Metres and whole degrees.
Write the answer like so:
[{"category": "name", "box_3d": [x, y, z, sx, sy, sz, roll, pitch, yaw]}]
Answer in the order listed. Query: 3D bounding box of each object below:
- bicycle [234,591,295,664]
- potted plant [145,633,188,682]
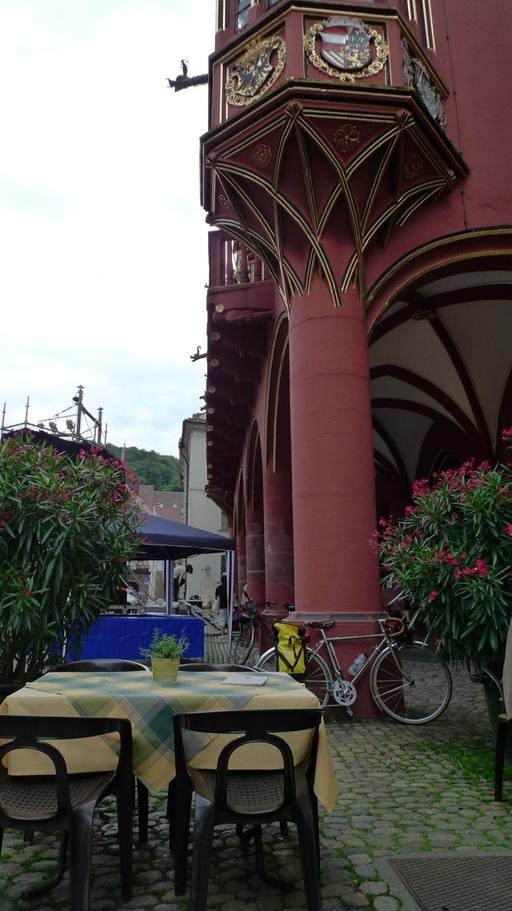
[{"category": "bicycle", "box_3d": [0.141, 2.395, 9.347, 0.593, 0.777, 1.168, -12, -7, -36]}, {"category": "potted plant", "box_3d": [-0.422, 0.976, 3.223, 0.220, 0.297, 0.234, 2, -20, -1]}]
